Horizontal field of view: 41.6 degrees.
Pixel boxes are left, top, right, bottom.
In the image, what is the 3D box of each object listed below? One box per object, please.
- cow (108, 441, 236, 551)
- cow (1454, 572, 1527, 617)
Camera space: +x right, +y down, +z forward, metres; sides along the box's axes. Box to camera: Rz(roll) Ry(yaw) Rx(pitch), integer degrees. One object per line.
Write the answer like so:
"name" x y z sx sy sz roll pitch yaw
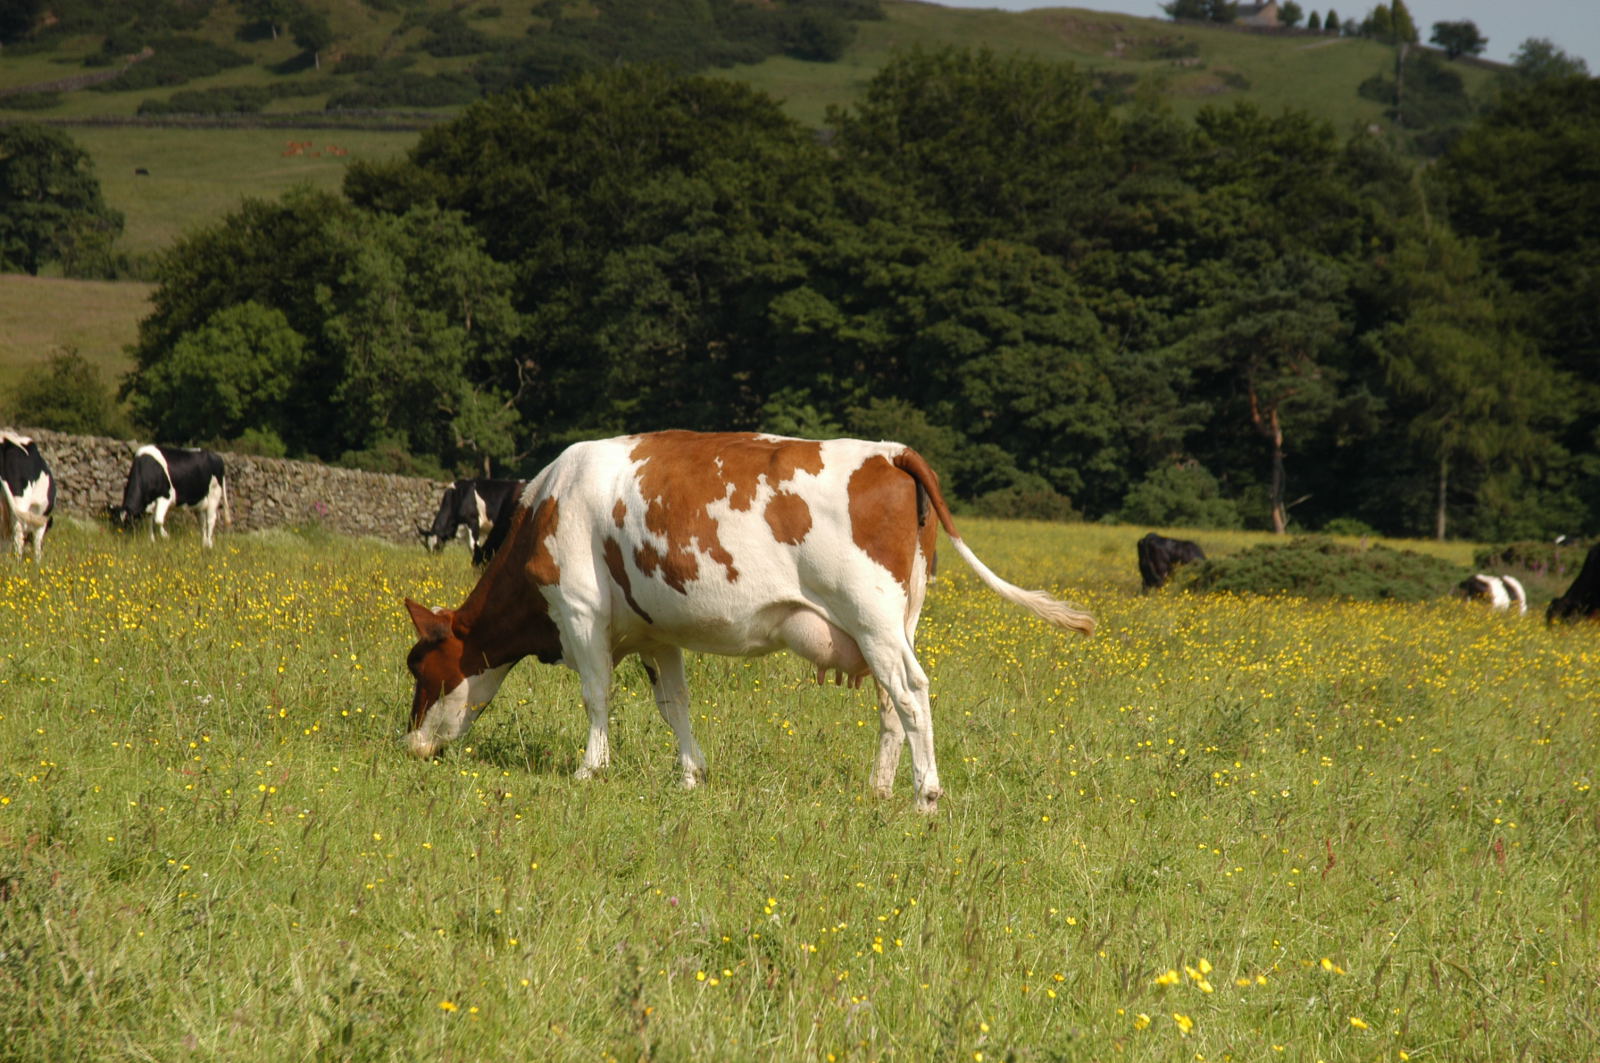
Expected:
"cow" -24.976 -1.329 82.090 1.451 4.098 6.229 5 5 31
"cow" 25.835 2.327 78.402 2.430 1.947 1.309 5 0 15
